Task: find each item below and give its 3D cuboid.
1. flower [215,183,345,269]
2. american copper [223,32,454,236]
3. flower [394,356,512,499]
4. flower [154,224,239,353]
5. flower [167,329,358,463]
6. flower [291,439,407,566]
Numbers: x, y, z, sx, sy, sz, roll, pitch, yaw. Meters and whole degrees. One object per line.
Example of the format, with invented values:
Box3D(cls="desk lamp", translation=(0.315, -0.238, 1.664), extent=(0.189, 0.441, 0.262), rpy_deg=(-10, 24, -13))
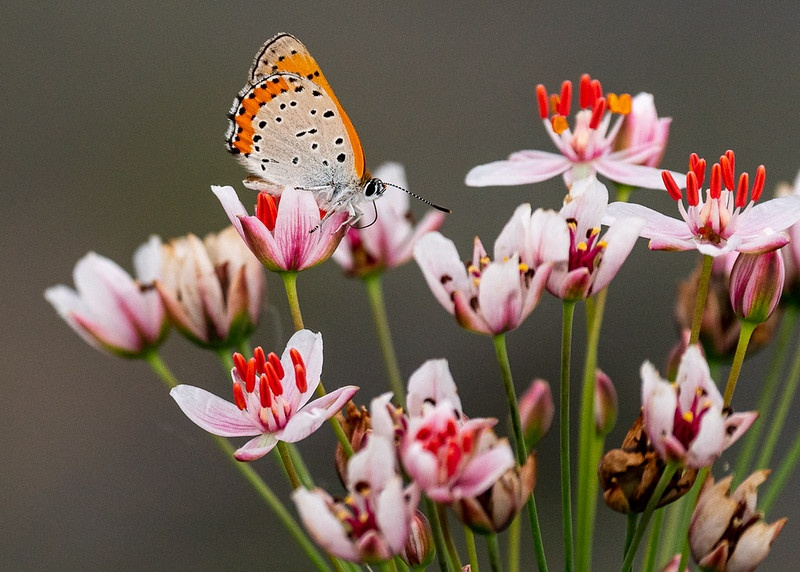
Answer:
Box3D(cls="flower", translation=(-0.132, -0.058, 1.143), extent=(0.182, 0.114, 0.204), rpy_deg=(1, 1, 15))
Box3D(cls="american copper", translation=(-0.113, -0.167, 1.157), extent=(0.147, 0.262, 0.149), rpy_deg=(14, 31, 41))
Box3D(cls="flower", translation=(0.057, 0.170, 1.014), extent=(0.135, 0.076, 0.125), rpy_deg=(20, 42, 24))
Box3D(cls="flower", translation=(-0.276, 0.015, 1.272), extent=(0.114, 0.156, 0.126), rpy_deg=(-18, -9, 19))
Box3D(cls="flower", translation=(-0.143, 0.141, 1.086), extent=(0.196, 0.136, 0.214), rpy_deg=(-13, 8, -1))
Box3D(cls="flower", translation=(-0.052, 0.199, 1.046), extent=(0.107, 0.131, 0.131), rpy_deg=(-13, 11, -21))
